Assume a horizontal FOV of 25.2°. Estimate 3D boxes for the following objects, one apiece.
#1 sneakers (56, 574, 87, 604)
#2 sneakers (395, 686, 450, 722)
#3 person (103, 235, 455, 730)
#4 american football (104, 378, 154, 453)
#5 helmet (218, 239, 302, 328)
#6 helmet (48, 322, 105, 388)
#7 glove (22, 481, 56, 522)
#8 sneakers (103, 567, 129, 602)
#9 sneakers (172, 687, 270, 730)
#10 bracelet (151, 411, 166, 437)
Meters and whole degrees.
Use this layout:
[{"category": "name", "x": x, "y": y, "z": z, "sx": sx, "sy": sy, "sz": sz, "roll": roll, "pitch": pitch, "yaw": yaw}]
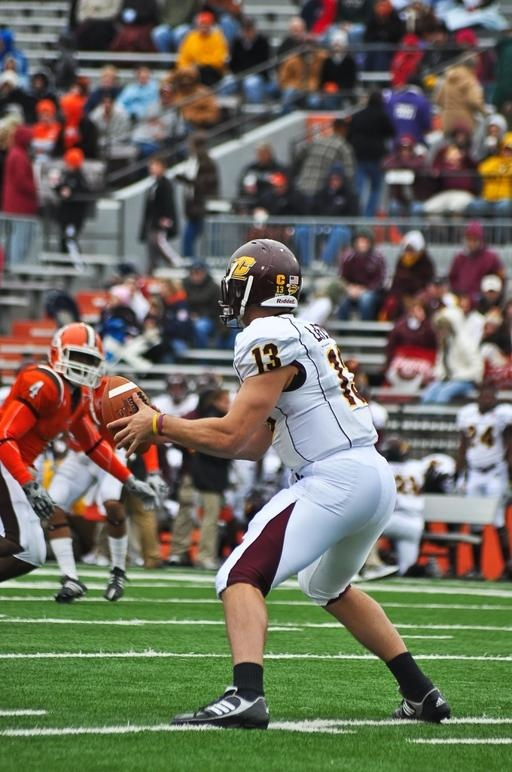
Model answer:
[{"category": "sneakers", "x": -0.979, "y": 1.070, "z": 6.032, "sx": 0.077, "sy": 0.105, "sz": 0.220, "roll": -9, "pitch": -10, "yaw": 5}, {"category": "sneakers", "x": 0.449, "y": 0.866, "z": 3.128, "sx": 0.064, "sy": 0.077, "sz": 0.173, "roll": 0, "pitch": -7, "yaw": -25}, {"category": "person", "x": 0.053, "y": 0.267, "z": 3.072, "sx": 0.796, "sy": 1.312, "sz": 0.605, "roll": -6, "pitch": 8, "yaw": -32}, {"category": "american football", "x": -0.372, "y": 0.072, "z": 3.248, "sx": 0.128, "sy": 0.176, "sz": 0.037, "roll": -30, "pitch": -23, "yaw": 27}, {"category": "helmet", "x": 0.008, "y": -0.306, "z": 3.301, "sx": 0.243, "sy": 0.223, "sz": 0.196, "roll": 0, "pitch": 0, "yaw": 31}, {"category": "helmet", "x": -0.897, "y": -0.151, "z": 5.454, "sx": 0.232, "sy": 0.252, "sz": 0.297, "roll": 9, "pitch": 10, "yaw": -39}, {"category": "glove", "x": -0.913, "y": 0.471, "z": 4.830, "sx": 0.099, "sy": 0.181, "sz": 0.055, "roll": -30, "pitch": 6, "yaw": 6}, {"category": "sneakers", "x": -0.765, "y": 1.047, "z": 6.178, "sx": 0.084, "sy": 0.097, "sz": 0.213, "roll": 4, "pitch": 41, "yaw": -2}, {"category": "sneakers", "x": -0.106, "y": 0.776, "z": 2.804, "sx": 0.263, "sy": 0.113, "sz": 0.088, "roll": 4, "pitch": -8, "yaw": 3}, {"category": "bracelet", "x": -0.261, "y": 0.102, "z": 2.994, "sx": 0.032, "sy": 0.053, "sz": 0.040, "roll": 2, "pitch": 1, "yaw": -11}]
